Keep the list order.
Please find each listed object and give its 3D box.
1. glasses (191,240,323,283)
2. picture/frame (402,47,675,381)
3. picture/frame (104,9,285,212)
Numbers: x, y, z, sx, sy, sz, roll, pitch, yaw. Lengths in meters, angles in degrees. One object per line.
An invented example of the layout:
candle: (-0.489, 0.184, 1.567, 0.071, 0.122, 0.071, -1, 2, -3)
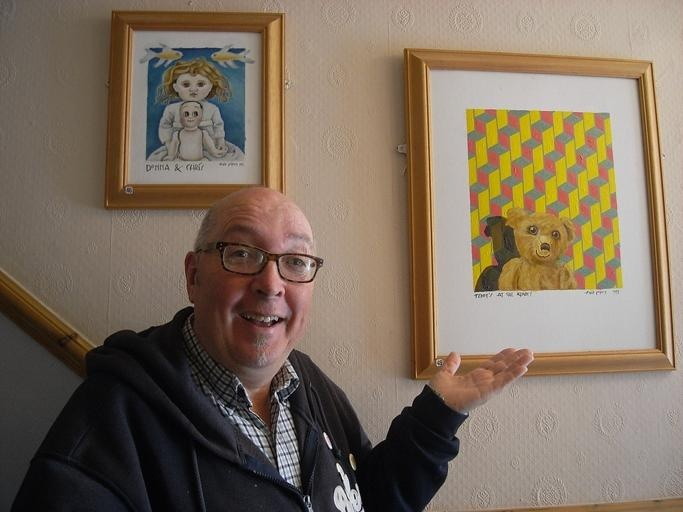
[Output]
glasses: (-0.184, 0.019, 1.579, 0.267, 0.099, 0.039, 2, 5, -14)
picture/frame: (0.599, -0.099, 1.943, 0.937, 1.207, 0.086, 1, -9, -9)
picture/frame: (-0.469, -0.428, 1.887, 0.570, 0.729, 0.049, 0, -2, -1)
